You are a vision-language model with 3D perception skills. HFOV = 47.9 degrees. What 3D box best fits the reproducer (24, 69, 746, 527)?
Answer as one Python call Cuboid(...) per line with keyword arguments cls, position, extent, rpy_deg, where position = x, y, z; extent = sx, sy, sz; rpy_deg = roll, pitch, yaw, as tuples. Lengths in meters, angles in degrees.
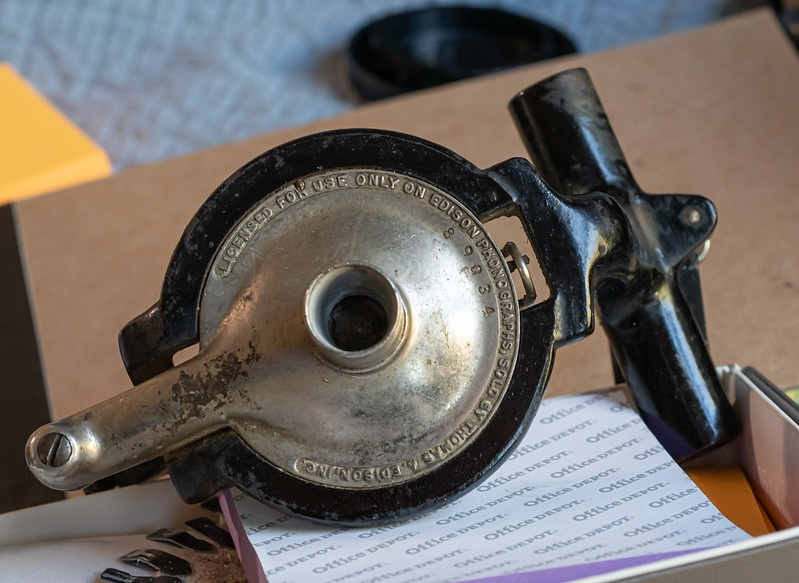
Cuboid(cls="reproducer", position=(-0.016, 0.052, 1.183), extent=(0.743, 0.287, 0.484), rpy_deg=(-23, 86, -9))
